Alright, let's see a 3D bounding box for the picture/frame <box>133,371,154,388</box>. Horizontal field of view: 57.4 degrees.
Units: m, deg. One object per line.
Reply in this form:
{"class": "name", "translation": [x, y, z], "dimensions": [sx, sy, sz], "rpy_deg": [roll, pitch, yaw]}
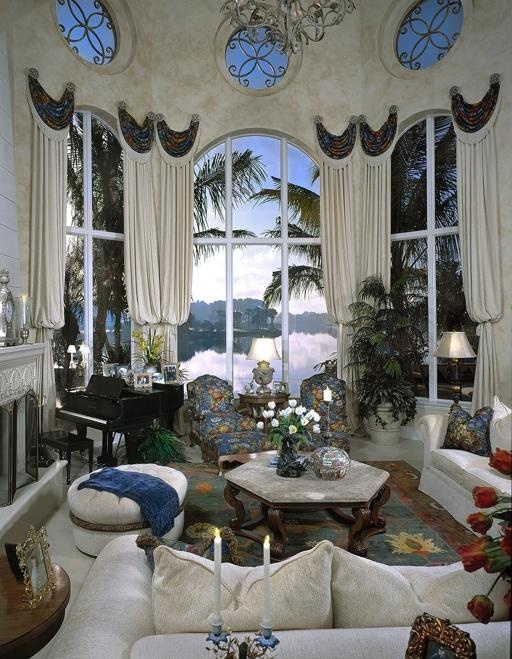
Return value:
{"class": "picture/frame", "translation": [-1.436, 0.641, 5.961], "dimensions": [0.167, 0.162, 0.024], "rpy_deg": [1, -21, -8]}

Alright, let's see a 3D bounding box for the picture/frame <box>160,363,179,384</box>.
{"class": "picture/frame", "translation": [-1.178, 0.612, 6.383], "dimensions": [0.216, 0.267, 0.033], "rpy_deg": [4, -13, -31]}

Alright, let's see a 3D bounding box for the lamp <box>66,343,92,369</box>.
{"class": "lamp", "translation": [-2.384, 0.368, 6.297], "dimensions": [0.253, 0.340, 0.337], "rpy_deg": [-5, 8, -33]}

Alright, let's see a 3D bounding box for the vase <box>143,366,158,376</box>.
{"class": "vase", "translation": [-1.424, 0.557, 6.360], "dimensions": [0.143, 0.163, 0.150], "rpy_deg": [0, -1, 29]}

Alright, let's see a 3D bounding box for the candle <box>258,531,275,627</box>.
{"class": "candle", "translation": [0.017, 0.414, 0.757], "dimensions": [0.025, 0.146, 0.027], "rpy_deg": [-3, -14, 13]}

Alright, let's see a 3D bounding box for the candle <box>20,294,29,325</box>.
{"class": "candle", "translation": [-2.035, -0.160, 4.121], "dimensions": [0.068, 0.235, 0.179], "rpy_deg": [-1, 0, -26]}

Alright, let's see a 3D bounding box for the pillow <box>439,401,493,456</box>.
{"class": "pillow", "translation": [1.946, 0.909, 4.272], "dimensions": [0.130, 0.404, 0.374], "rpy_deg": [16, -10, -33]}

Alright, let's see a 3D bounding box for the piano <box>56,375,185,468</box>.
{"class": "piano", "translation": [-1.541, 0.900, 5.537], "dimensions": [0.907, 0.994, 1.260], "rpy_deg": [1, 0, 40]}

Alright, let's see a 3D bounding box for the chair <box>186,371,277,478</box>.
{"class": "chair", "translation": [-0.288, 1.089, 5.719], "dimensions": [0.723, 0.874, 1.208], "rpy_deg": [-7, 12, -24]}

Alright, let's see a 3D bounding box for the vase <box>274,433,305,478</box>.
{"class": "vase", "translation": [0.317, 0.961, 3.609], "dimensions": [0.232, 0.365, 0.262], "rpy_deg": [-1, 2, 11]}

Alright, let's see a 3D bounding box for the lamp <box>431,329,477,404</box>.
{"class": "lamp", "translation": [2.401, 0.451, 5.681], "dimensions": [0.443, 0.899, 1.300], "rpy_deg": [-1, 0, 25]}

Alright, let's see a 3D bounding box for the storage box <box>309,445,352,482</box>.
{"class": "storage box", "translation": [0.551, 0.980, 3.450], "dimensions": [0.208, 0.191, 0.243], "rpy_deg": [0, -2, -1]}
